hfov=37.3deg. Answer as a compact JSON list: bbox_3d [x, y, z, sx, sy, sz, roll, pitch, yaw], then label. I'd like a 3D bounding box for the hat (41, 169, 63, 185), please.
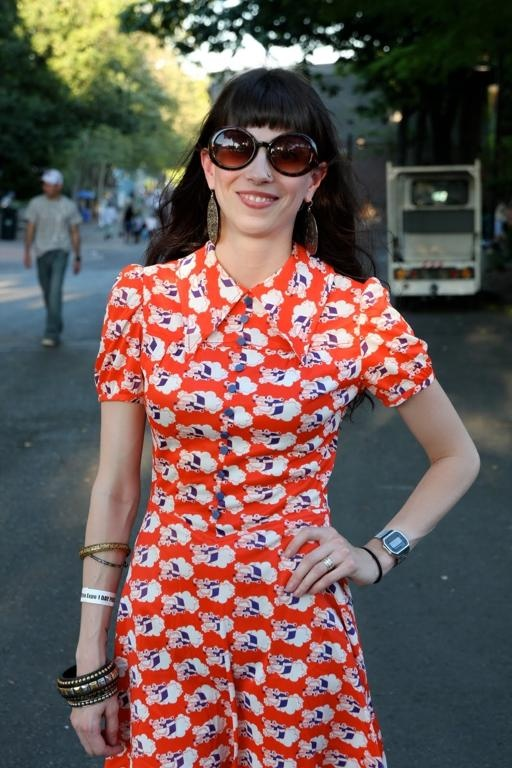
[{"bbox_3d":[-0.665,-0.676,2.473,0.051,0.048,0.059,-3,12,-26],"label":"hat"}]

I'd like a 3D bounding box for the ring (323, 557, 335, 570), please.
[{"bbox_3d":[0.125,0.313,1.317,0.021,0.018,0.007,-7,-4,-13],"label":"ring"}]

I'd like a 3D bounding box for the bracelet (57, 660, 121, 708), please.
[{"bbox_3d":[-0.295,0.522,1.358,0.094,0.046,0.092,-13,5,18],"label":"bracelet"}]

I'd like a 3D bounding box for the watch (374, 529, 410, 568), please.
[{"bbox_3d":[0.259,0.316,1.475,0.053,0.073,0.071,-32,-17,-10],"label":"watch"}]

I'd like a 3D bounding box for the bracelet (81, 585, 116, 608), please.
[{"bbox_3d":[-0.298,0.396,1.421,0.049,0.020,0.046,4,-2,6],"label":"bracelet"}]

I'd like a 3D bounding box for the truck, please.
[{"bbox_3d":[5.040,-3.588,17.341,2.237,2.851,3.904,8,23,42],"label":"truck"}]
